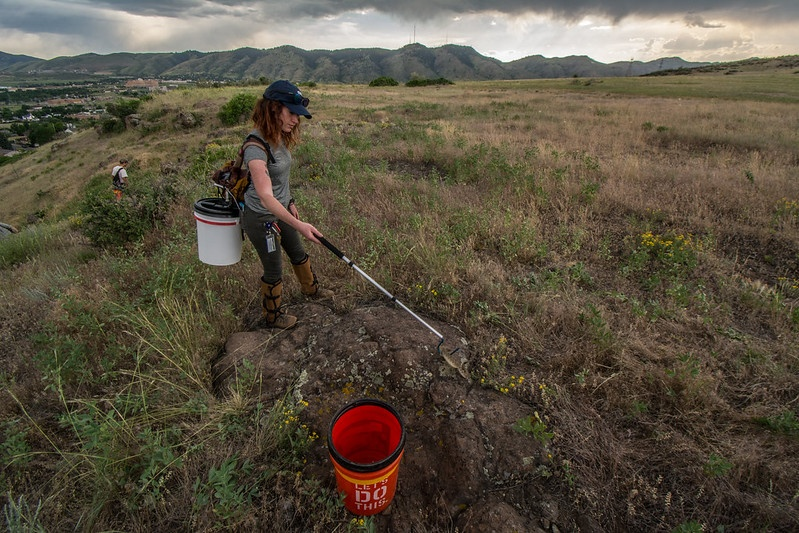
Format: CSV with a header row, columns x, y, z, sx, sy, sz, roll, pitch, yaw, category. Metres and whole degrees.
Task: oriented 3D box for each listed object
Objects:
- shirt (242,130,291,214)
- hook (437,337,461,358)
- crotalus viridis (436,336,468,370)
x,y,z,sx,sy,sz,roll,pitch,yaw,category
-1.978,-1.548,7.412,0.571,1.099,0.829,19,33,15,shirt
0.693,1.220,7.089,0.215,0.331,0.310,-25,61,-24,hook
0.801,1.253,7.004,0.341,0.187,0.493,-27,57,-34,crotalus viridis
